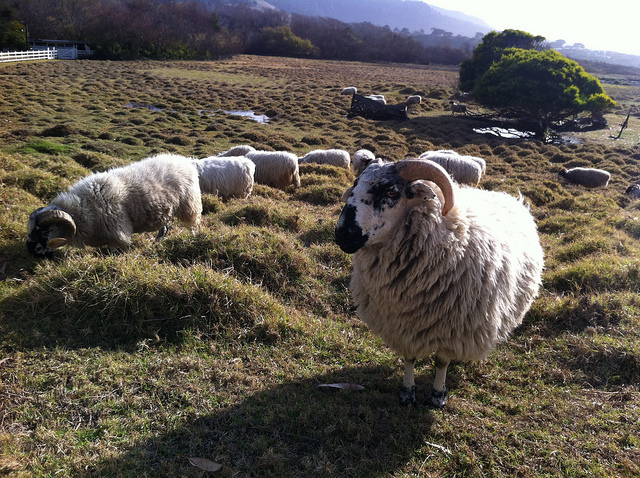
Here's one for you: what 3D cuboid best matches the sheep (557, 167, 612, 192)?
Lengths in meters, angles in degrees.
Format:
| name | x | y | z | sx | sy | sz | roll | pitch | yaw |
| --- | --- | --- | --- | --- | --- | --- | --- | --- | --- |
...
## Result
| name | x | y | z | sx | sy | sz | roll | pitch | yaw |
| --- | --- | --- | --- | --- | --- | --- | --- | --- | --- |
| sheep | 8.008 | -1.795 | 16.039 | 1.512 | 0.851 | 0.711 | 2 | 10 | 8 |

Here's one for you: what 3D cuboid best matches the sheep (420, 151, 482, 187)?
| name | x | y | z | sx | sy | sz | roll | pitch | yaw |
| --- | --- | --- | --- | --- | --- | --- | --- | --- | --- |
| sheep | 3.251 | -1.776 | 13.563 | 1.391 | 0.832 | 1.590 | 11 | 13 | -9 |

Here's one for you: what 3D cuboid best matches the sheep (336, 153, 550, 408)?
| name | x | y | z | sx | sy | sz | roll | pitch | yaw |
| --- | --- | --- | --- | --- | --- | --- | --- | --- | --- |
| sheep | 1.428 | 0.504 | 6.601 | 2.692 | 2.733 | 1.549 | 5 | 28 | -13 |

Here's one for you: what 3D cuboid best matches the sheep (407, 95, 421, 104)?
| name | x | y | z | sx | sy | sz | roll | pitch | yaw |
| --- | --- | --- | --- | --- | --- | --- | --- | --- | --- |
| sheep | 5.549 | -8.295 | 31.549 | 0.776 | 0.433 | 0.400 | -14 | 64 | -14 |

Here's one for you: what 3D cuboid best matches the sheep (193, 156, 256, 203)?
| name | x | y | z | sx | sy | sz | roll | pitch | yaw |
| --- | --- | --- | --- | --- | --- | --- | --- | --- | --- |
| sheep | -1.980 | -1.313 | 11.302 | 1.433 | 0.965 | 0.690 | -1 | 11 | -21 |

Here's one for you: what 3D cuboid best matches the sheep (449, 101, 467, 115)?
| name | x | y | z | sx | sy | sz | roll | pitch | yaw |
| --- | --- | --- | --- | --- | --- | --- | --- | --- | --- |
| sheep | 7.778 | -7.440 | 30.381 | 1.104 | 0.511 | 0.583 | -9 | 34 | -34 |

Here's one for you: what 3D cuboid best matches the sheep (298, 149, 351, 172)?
| name | x | y | z | sx | sy | sz | roll | pitch | yaw |
| --- | --- | --- | --- | --- | --- | --- | --- | --- | --- |
| sheep | 0.255 | -2.215 | 15.161 | 1.705 | 0.898 | 0.602 | 2 | 16 | 3 |
